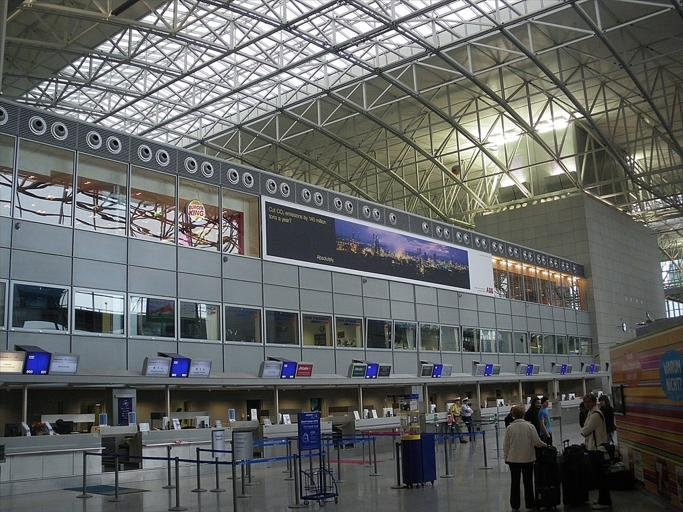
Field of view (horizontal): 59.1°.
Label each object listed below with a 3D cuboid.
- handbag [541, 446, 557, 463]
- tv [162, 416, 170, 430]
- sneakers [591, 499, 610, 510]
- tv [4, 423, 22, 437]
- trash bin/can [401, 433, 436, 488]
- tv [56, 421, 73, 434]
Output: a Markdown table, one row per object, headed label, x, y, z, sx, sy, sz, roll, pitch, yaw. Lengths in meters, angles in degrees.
| label | x | y | z | sx | sy | sz | roll | pitch | yaw |
| --- | --- | --- | --- | --- | --- | --- | --- | --- | --- |
| handbag | 4.547 | 4.294 | 13.254 | 0.318 | 0.403 | 0.430 | 0 | -3 | 20 |
| tv | -6.077 | 5.846 | 21.069 | 0.283 | 0.470 | 1.010 | 2 | -17 | -15 |
| sneakers | 5.543 | 5.303 | 12.810 | 0.443 | 0.179 | 0.147 | 0 | -5 | 11 |
| tv | -9.852 | 5.256 | 18.174 | 0.453 | 0.364 | 0.714 | 6 | -18 | -26 |
| trash bin/can | 2.038 | 5.405 | 15.963 | 1.011 | 1.309 | 0.850 | 0 | -17 | -10 |
| tv | -8.619 | 5.373 | 18.823 | 0.483 | 0.418 | 0.240 | 3 | 7 | -3 |
